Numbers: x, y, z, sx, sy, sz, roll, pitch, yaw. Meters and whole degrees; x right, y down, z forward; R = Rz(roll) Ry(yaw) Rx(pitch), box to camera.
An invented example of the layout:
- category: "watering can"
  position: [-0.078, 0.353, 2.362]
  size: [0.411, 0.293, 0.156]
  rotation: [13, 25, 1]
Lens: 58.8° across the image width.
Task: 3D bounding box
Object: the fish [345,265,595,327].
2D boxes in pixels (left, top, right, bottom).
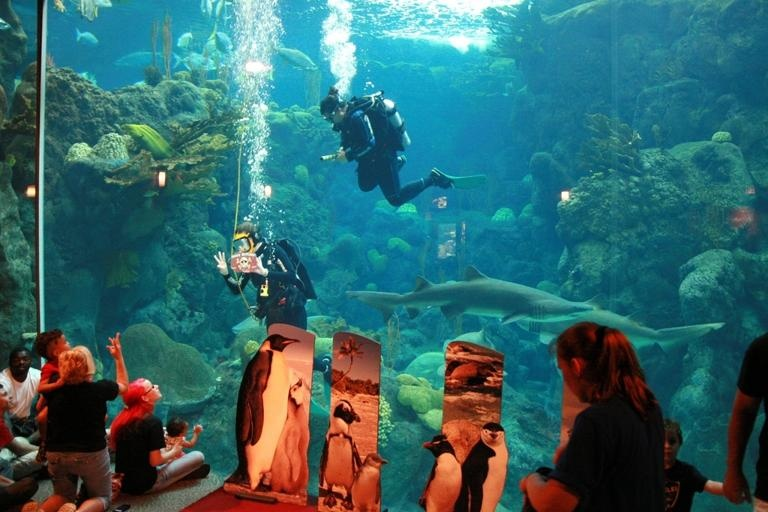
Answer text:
- category: "fish"
  position: [3.016, 1.361, 21.685]
  size: [6.779, 1.986, 0.929]
  rotation: [8, -19, 0]

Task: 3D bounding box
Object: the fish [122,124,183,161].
- category: "fish"
  position: [-7.962, -3.983, 23.933]
  size: [1.587, 1.248, 1.166]
  rotation: [1, 10, -7]
